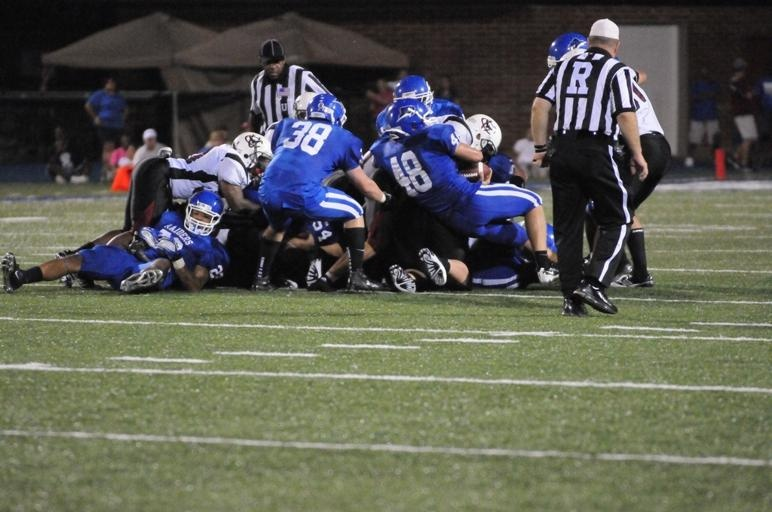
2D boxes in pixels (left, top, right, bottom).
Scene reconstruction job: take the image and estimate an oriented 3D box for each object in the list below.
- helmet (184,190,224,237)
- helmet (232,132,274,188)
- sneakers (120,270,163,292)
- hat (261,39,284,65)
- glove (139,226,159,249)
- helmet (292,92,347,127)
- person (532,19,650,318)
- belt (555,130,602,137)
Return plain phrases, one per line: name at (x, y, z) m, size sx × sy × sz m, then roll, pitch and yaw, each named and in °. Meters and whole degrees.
helmet at (-1.499, -0.362, 8.665) m, size 0.317 × 0.332 × 0.397 m, roll 18°, pitch 12°, yaw -6°
helmet at (-1.163, -0.870, 8.969) m, size 0.465 × 0.412 × 0.358 m, roll 21°, pitch 4°, yaw -9°
sneakers at (-2.025, 0.208, 8.243) m, size 0.322 × 0.174 × 0.094 m, roll -19°, pitch 47°, yaw -6°
hat at (-1.178, -2.122, 10.357) m, size 0.194 × 0.153 × 0.283 m, roll -4°, pitch 44°, yaw -6°
glove at (-1.995, -0.159, 8.366) m, size 0.117 × 0.073 × 0.193 m, roll -31°, pitch 70°, yaw -32°
helmet at (-0.562, -1.254, 8.710) m, size 0.284 × 0.283 × 0.381 m, roll 34°, pitch 15°, yaw 17°
person at (1.577, -0.653, 7.474) m, size 0.694 × 2.241 × 0.301 m, roll 1°, pitch 2°, yaw 13°
belt at (1.425, -0.911, 7.447) m, size 0.369 × 0.050 × 0.097 m, roll 2°, pitch 3°, yaw 38°
